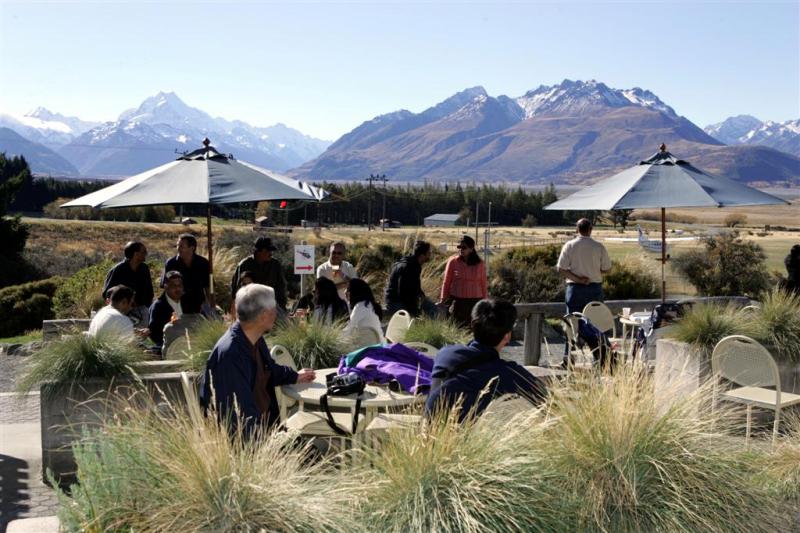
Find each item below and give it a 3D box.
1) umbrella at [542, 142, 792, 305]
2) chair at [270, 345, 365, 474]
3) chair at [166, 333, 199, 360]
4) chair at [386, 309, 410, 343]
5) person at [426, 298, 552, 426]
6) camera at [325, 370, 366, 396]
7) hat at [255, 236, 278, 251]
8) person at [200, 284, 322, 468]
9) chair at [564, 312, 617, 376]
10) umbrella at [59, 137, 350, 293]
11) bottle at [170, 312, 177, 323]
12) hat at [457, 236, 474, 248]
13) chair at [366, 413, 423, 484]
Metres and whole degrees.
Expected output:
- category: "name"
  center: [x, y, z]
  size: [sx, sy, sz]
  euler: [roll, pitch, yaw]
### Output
- category: "umbrella"
  center: [3.096, -0.677, 8.458]
  size: [1.643, 1.334, 1.630]
  euler: [15, -7, -35]
- category: "chair"
  center: [-0.691, 1.249, 6.510]
  size: [0.804, 1.205, 0.871]
  euler: [-1, 10, -2]
- category: "chair"
  center: [-2.277, 0.829, 7.598]
  size: [0.214, 0.280, 0.852]
  euler: [2, 0, -25]
- category: "chair"
  center: [-0.018, 0.664, 8.299]
  size: [0.225, 0.291, 0.480]
  euler: [2, 0, -28]
- category: "person"
  center: [0.759, 0.821, 6.472]
  size: [0.638, 1.479, 0.729]
  euler: [22, 25, 36]
- category: "camera"
  center: [-0.459, 0.952, 5.987]
  size: [0.162, 0.131, 0.258]
  euler: [2, -5, -43]
- category: "hat"
  center: [-1.742, -0.297, 9.538]
  size: [0.249, 0.152, 0.198]
  euler: [-7, 11, -20]
- category: "person"
  center: [-1.200, 0.698, 5.608]
  size: [0.610, 1.156, 1.182]
  euler: [2, 0, -9]
- category: "chair"
  center: [2.006, 0.840, 7.964]
  size: [0.446, 0.637, 0.414]
  euler: [7, -10, 1]
- category: "umbrella"
  center: [-2.209, -0.860, 8.565]
  size: [2.304, 1.054, 2.400]
  euler: [-4, 1, -23]
- category: "bottle"
  center: [-2.650, 0.600, 8.574]
  size: [0.081, 0.150, 0.089]
  euler: [0, -1, 17]
- category: "hat"
  center: [0.915, -0.348, 10.070]
  size: [0.151, 0.215, 0.212]
  euler: [2, 11, 0]
- category: "chair"
  center: [-0.049, 1.307, 5.437]
  size: [0.403, 0.659, 0.432]
  euler: [3, -5, 2]
